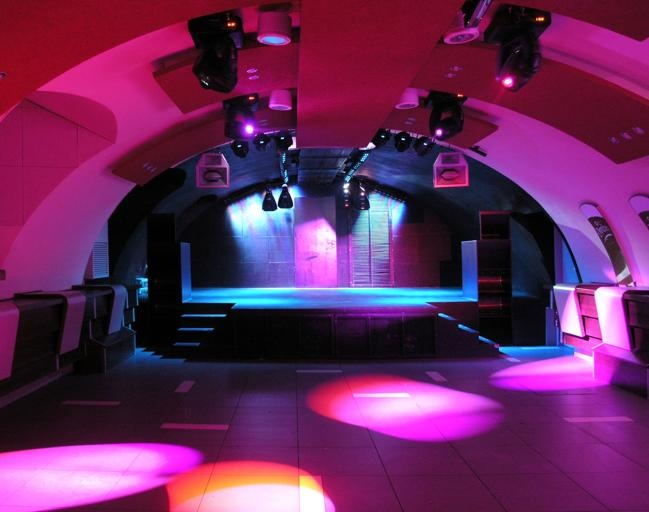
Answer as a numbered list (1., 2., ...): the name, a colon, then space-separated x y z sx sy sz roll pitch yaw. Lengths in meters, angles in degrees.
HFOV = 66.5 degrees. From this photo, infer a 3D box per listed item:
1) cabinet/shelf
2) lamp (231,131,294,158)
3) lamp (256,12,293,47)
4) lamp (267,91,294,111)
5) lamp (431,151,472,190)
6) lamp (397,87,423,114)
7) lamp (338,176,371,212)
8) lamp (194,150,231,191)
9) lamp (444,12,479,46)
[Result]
1. cabinet/shelf: 3.329 0.627 10.350 1.032 3.007 0.692 1 3 -22
2. lamp: -1.110 -2.095 9.294 0.662 0.496 1.576 3 8 22
3. lamp: -0.521 -2.333 5.145 0.346 0.207 0.324 3 4 18
4. lamp: -0.611 -2.140 6.853 0.333 0.210 0.308 -1 -9 4
5. lamp: 2.501 -1.690 9.735 0.768 0.565 0.714 -1 1 10
6. lamp: 1.241 -2.182 6.943 0.402 0.263 0.226 -1 -4 -14
7. lamp: 1.240 -1.822 15.313 0.917 0.759 0.897 7 15 27
8. lamp: -2.079 -1.656 9.815 0.753 0.650 0.530 5 7 20
9. lamp: 1.454 -2.385 5.216 0.328 0.335 0.578 2 8 13
